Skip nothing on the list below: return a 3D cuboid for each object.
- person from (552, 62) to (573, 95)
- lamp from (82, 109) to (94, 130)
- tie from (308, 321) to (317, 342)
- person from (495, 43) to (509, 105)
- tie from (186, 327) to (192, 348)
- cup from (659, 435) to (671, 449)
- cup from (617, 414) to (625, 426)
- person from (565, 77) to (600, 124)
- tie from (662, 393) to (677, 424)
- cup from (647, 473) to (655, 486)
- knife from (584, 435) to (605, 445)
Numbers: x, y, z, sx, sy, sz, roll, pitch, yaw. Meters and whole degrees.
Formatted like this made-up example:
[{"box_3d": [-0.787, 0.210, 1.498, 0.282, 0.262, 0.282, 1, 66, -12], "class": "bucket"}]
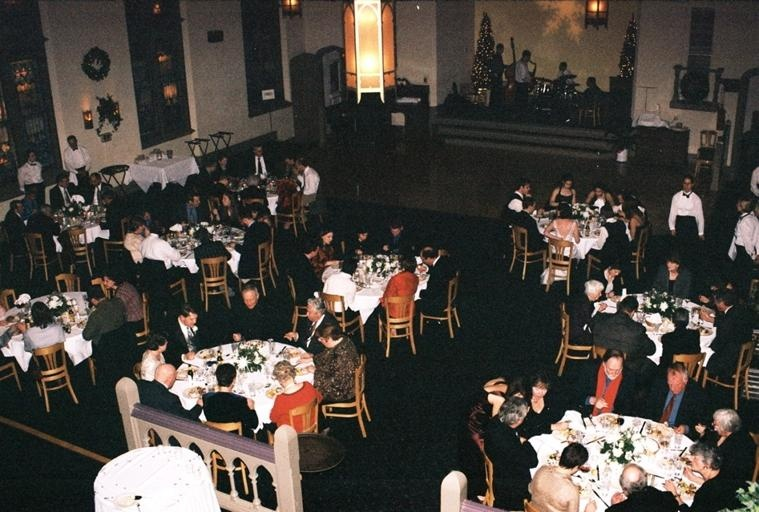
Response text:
[{"box_3d": [6.330, -6.086, 21.184, 0.720, 1.128, 0.717, 13, 28, 39], "class": "person"}, {"box_3d": [-7.481, -3.463, 15.726, 0.071, 0.478, 0.295, 9, 16, 26], "class": "lamp"}, {"box_3d": [-0.982, 1.102, 9.039, 0.235, 0.087, 0.173, -40, 9, -7], "class": "tie"}, {"box_3d": [4.155, -6.248, 21.299, 0.607, 2.070, 0.993, -5, 13, 5], "class": "person"}, {"box_3d": [-2.827, 1.208, 9.148, 0.080, 0.261, 0.123, -1, 15, -12], "class": "tie"}, {"box_3d": [3.393, 2.185, 7.285, 0.107, 0.065, 0.171, 11, 17, 32], "class": "cup"}, {"box_3d": [2.964, 1.998, 7.538, 0.093, 0.087, 0.147, 7, 15, 21], "class": "cup"}, {"box_3d": [6.896, -5.198, 20.606, 0.845, 1.604, 0.828, 0, 27, 15], "class": "person"}, {"box_3d": [3.685, 1.933, 7.856, 0.164, 0.387, 0.101, -5, 16, -26], "class": "tie"}, {"box_3d": [3.060, 2.496, 6.919, 0.062, 0.077, 0.151, 7, 15, 19], "class": "cup"}, {"box_3d": [2.564, 2.177, 7.312, 0.270, 0.057, 0.077, -4, 15, -25], "class": "knife"}]
